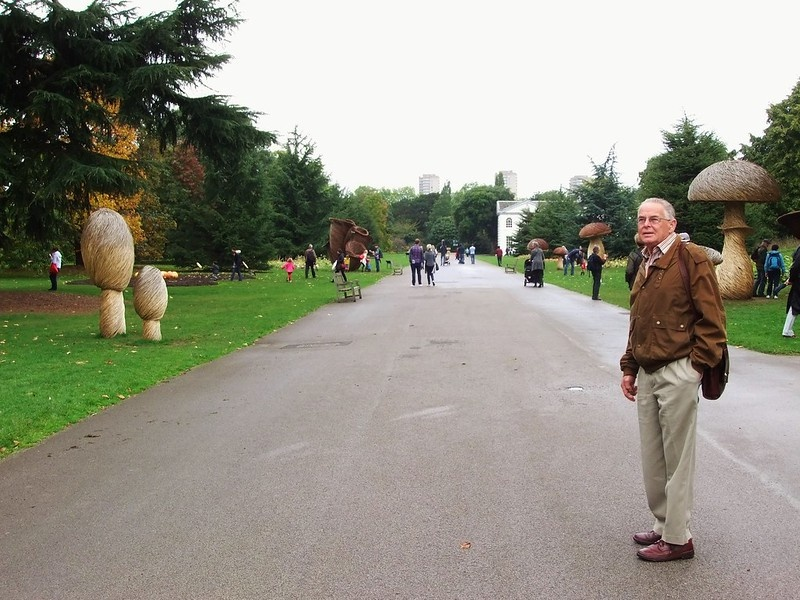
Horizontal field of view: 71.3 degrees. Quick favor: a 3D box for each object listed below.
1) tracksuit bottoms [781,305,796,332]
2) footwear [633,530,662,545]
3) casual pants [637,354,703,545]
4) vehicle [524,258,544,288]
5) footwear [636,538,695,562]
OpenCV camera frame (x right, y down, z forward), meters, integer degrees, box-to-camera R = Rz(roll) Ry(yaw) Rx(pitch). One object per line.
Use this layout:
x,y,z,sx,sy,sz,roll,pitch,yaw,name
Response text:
9.047,0.489,13.120,0.202,0.590,1.172,3,7,36,tracksuit bottoms
1.933,1.871,4.394,0.168,0.074,0.099,3,-1,9,footwear
2.047,1.145,4.340,0.443,1.394,0.390,2,6,28,casual pants
7.584,-1.506,30.517,0.998,1.757,1.542,-1,-3,3,vehicle
2.011,1.902,4.313,0.410,0.208,0.161,2,-4,-2,footwear
